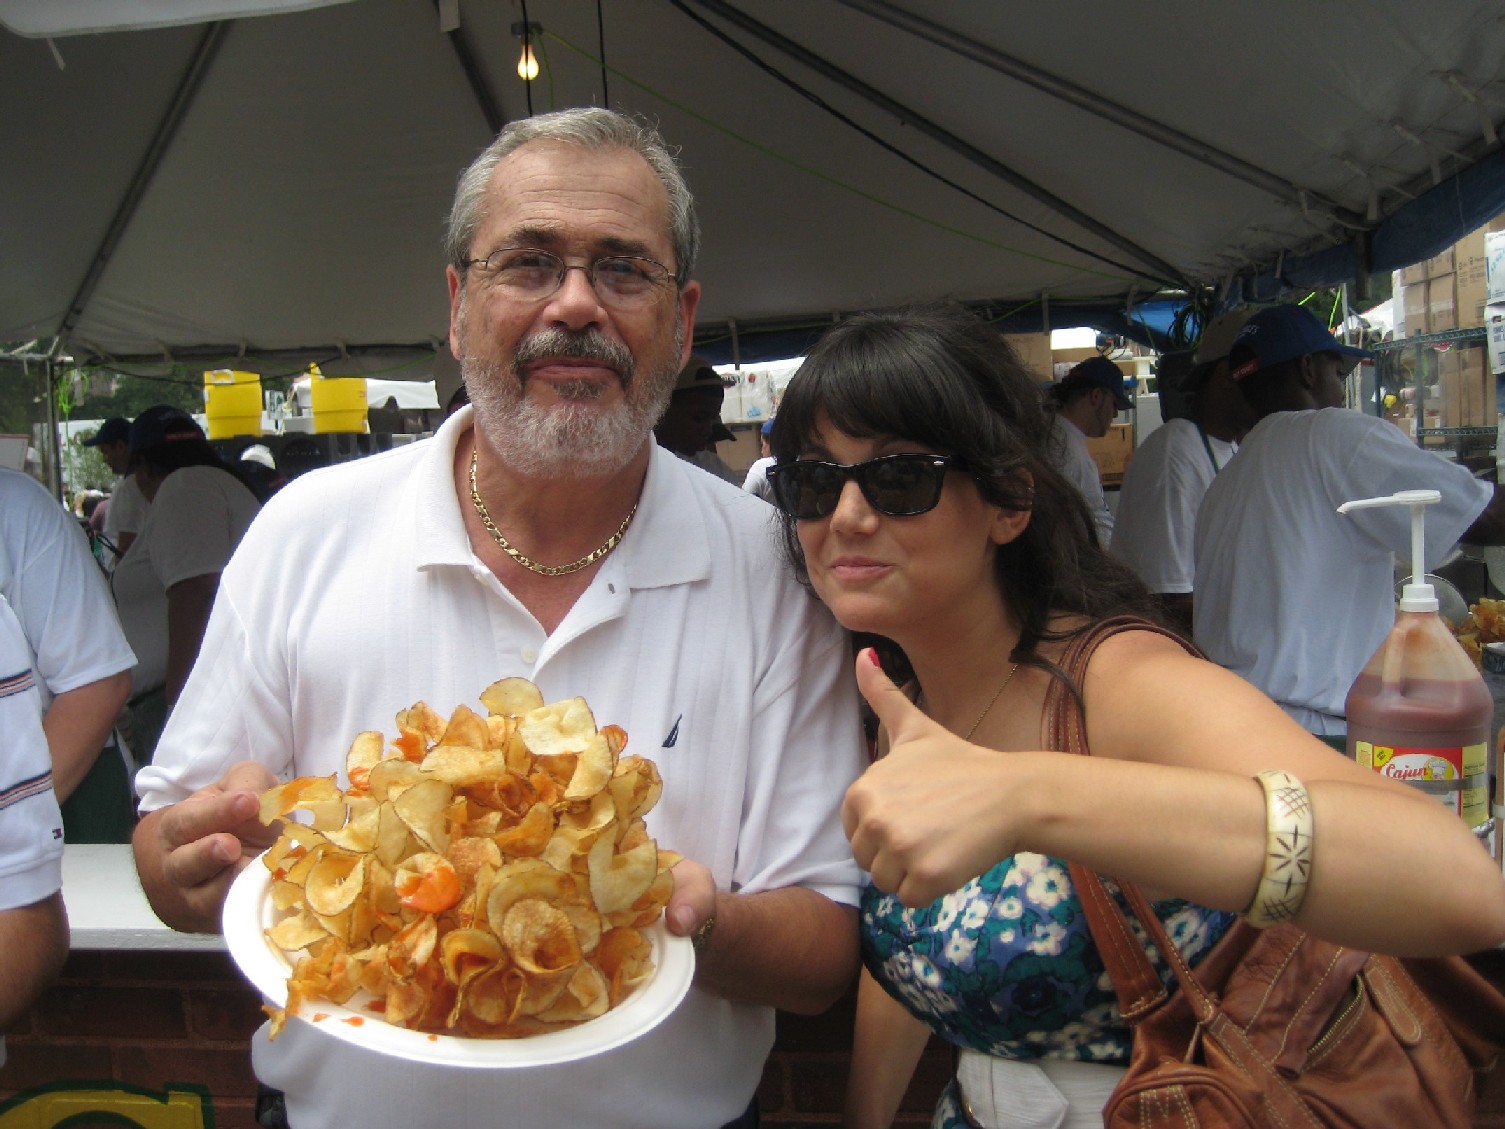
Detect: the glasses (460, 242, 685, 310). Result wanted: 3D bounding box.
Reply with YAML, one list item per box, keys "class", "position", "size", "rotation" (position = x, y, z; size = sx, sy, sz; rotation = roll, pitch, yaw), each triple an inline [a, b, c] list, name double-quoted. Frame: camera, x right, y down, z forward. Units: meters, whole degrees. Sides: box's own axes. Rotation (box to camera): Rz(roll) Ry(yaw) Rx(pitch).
- class: "glasses"
  position: [-0.378, -0.609, 2.567]
  size: [0.396, 0.128, 0.079]
  rotation: [-2, 7, -7]

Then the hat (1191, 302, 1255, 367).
- class: "hat"
  position: [2.066, -1.014, 5.353]
  size: [0.196, 0.300, 0.257]
  rotation: [2, 10, 6]

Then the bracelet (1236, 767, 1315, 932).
- class: "bracelet"
  position: [0.864, 0.470, 1.983]
  size: [0.101, 0.238, 0.069]
  rotation: [2, 8, 23]

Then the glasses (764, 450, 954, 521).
- class: "glasses"
  position: [0.201, -0.176, 2.423]
  size: [0.306, 0.136, 0.219]
  rotation: [2, 9, 23]

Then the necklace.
- class: "necklace"
  position: [-0.449, -0.143, 2.723]
  size: [0.334, 0.298, 0.252]
  rotation: [4, 10, 34]

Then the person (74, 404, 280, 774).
- class: "person"
  position: [-2.626, -0.042, 5.383]
  size: [0.876, 2.000, 0.927]
  rotation: [-10, 18, -44]
